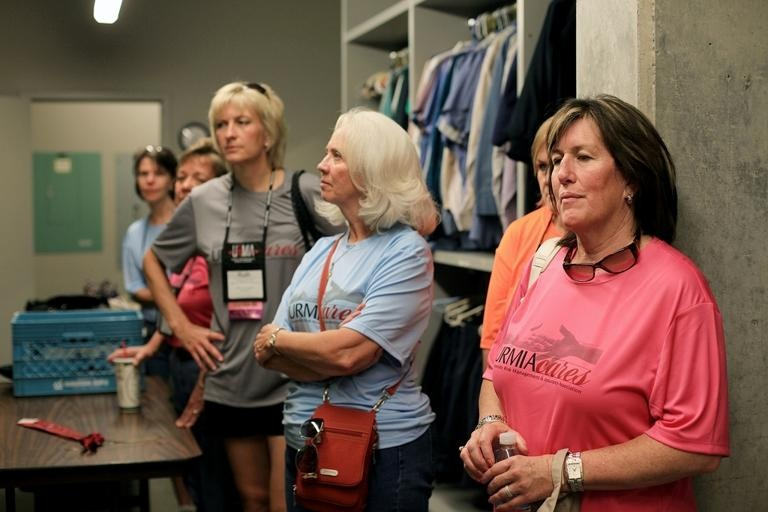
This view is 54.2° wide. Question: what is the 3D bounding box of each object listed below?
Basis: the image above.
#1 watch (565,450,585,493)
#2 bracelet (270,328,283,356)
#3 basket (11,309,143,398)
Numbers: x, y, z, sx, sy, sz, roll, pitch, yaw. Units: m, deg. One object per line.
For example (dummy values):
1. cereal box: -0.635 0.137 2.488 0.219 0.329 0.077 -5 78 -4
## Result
1. watch: 0.630 0.717 2.500 0.066 0.117 0.115 -4 -37 14
2. bracelet: -0.433 0.332 2.984 0.034 0.078 0.086 5 -40 -1
3. basket: -1.494 0.448 3.593 0.576 0.359 0.390 0 8 -9
